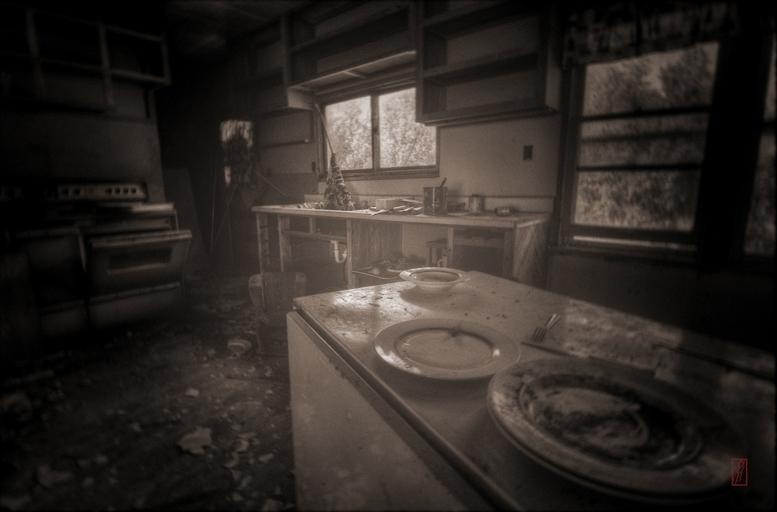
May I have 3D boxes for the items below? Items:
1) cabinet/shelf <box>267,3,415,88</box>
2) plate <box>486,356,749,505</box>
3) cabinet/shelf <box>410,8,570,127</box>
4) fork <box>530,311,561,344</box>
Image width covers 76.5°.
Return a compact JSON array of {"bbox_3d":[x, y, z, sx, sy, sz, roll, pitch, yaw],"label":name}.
[{"bbox_3d":[-0.297,-1.633,3.869,0.519,0.504,1.564,-8,13,-43],"label":"cabinet/shelf"},{"bbox_3d":[0.427,0.329,0.955,0.445,0.140,0.287,7,11,30],"label":"plate"},{"bbox_3d":[0.628,-1.237,3.101,1.008,0.741,0.469,10,14,42],"label":"cabinet/shelf"},{"bbox_3d":[0.426,0.186,1.333,0.044,0.027,0.158,8,19,35],"label":"fork"}]
